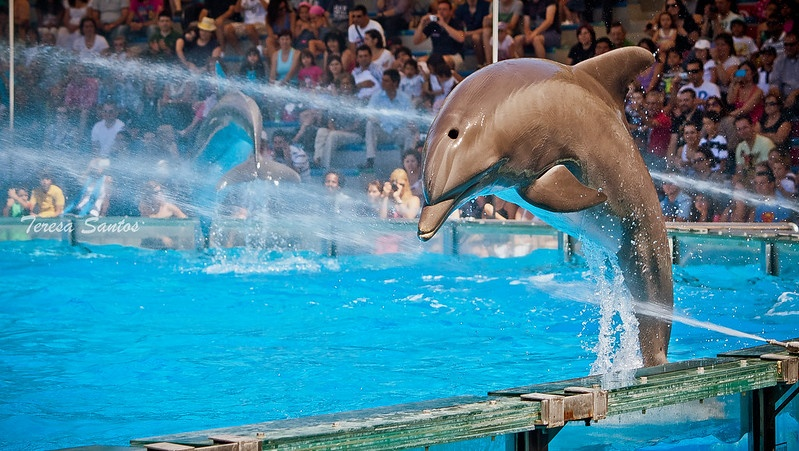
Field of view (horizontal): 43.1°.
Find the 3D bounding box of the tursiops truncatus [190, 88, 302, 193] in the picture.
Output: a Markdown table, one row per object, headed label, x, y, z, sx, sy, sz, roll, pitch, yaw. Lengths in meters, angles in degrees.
| label | x | y | z | sx | sy | sz | roll | pitch | yaw |
| --- | --- | --- | --- | --- | --- | --- | --- | --- | --- |
| tursiops truncatus | -2.514 | -1.531 | 16.557 | 1.019 | 1.112 | 2.545 | -4 | 33 | -17 |
